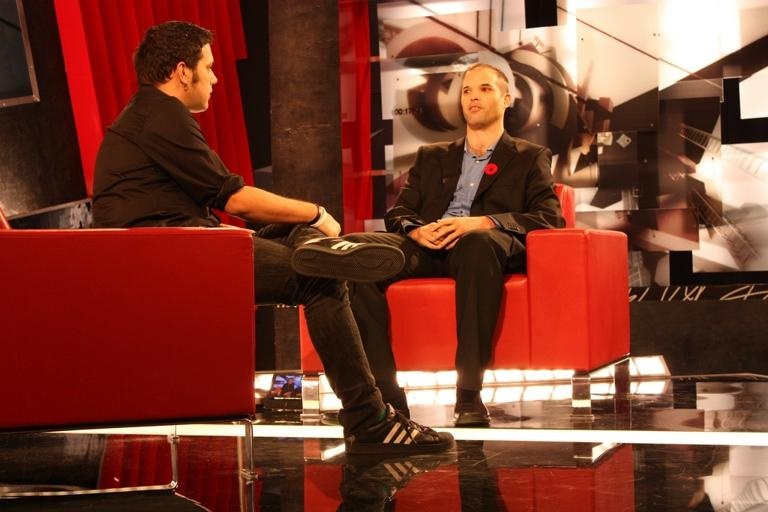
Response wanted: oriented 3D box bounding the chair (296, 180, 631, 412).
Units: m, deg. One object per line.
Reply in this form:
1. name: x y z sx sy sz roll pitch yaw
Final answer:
1. chair: 0.413 0.158 3.552 1.486 0.878 0.802 -5 -10 33

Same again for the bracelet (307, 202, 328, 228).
1. bracelet: -0.242 -0.154 2.622 0.077 0.034 0.068 -27 37 -35

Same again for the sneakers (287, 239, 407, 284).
1. sneakers: -0.116 -0.005 2.446 0.398 0.135 0.228 5 3 1

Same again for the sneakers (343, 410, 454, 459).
1. sneakers: 0.066 0.662 2.642 0.365 0.140 0.160 -1 -1 -8
